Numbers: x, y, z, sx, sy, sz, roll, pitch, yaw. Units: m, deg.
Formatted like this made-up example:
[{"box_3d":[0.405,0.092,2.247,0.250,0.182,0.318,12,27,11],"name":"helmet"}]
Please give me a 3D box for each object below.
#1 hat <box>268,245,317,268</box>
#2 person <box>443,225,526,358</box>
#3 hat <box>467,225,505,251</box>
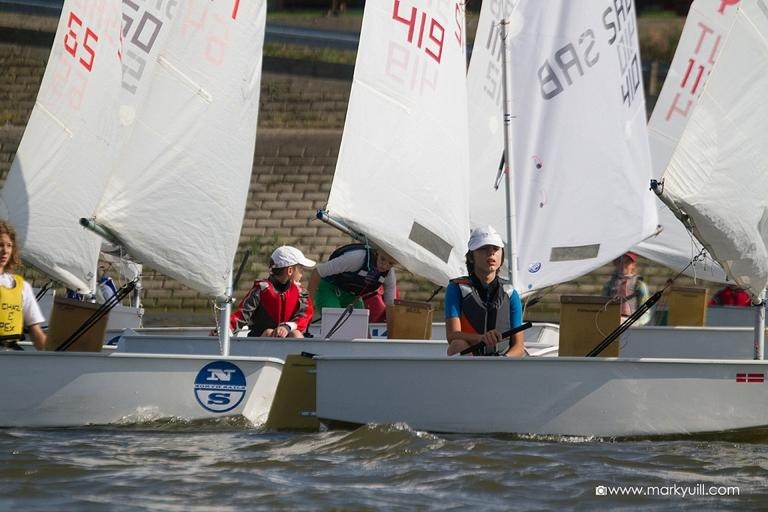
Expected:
[{"box_3d":[-0.777,0.012,11.424,0.276,0.134,0.191,3,4,-19],"name":"hat"},{"box_3d":[0.735,0.263,10.116,0.579,0.944,0.559,-1,5,3],"name":"person"},{"box_3d":[0.747,-0.130,10.161,0.240,0.179,0.178,-1,5,4],"name":"hat"}]
